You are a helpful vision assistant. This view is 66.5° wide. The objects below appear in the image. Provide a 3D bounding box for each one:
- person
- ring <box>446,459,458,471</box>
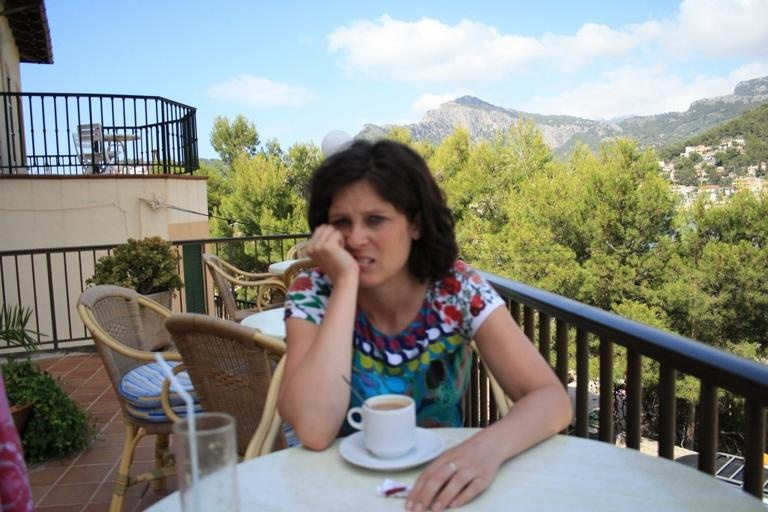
[{"bbox_3d":[0.028,0.165,2.273,1.071,1.350,1.067,-3,-4,-2],"label":"person"},{"bbox_3d":[0.200,0.618,1.728,0.018,0.005,0.019,-1,27,0],"label":"ring"}]
